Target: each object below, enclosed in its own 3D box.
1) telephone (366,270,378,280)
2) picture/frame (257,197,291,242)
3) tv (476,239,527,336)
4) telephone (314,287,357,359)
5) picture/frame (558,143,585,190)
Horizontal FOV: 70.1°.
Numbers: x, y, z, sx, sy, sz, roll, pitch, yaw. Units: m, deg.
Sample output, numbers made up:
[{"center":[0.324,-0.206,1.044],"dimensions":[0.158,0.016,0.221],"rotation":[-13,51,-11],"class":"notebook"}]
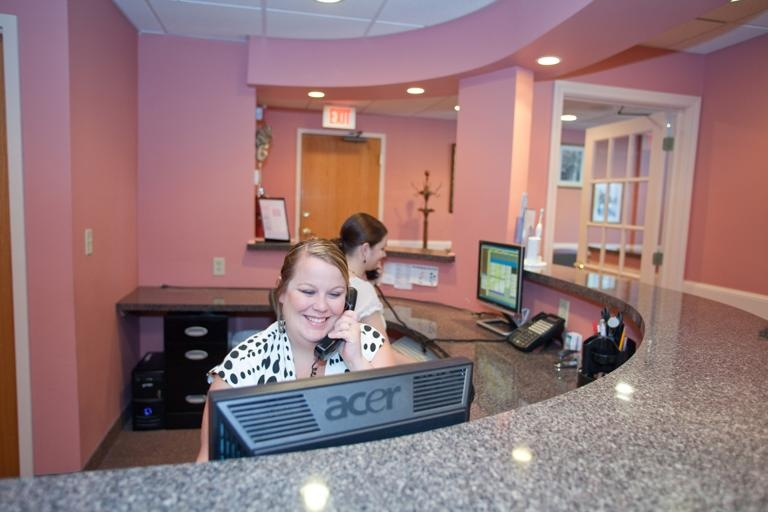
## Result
[{"center":[-0.072,0.117,3.286],"dimensions":[0.057,0.056,0.022],"rotation":[-1,17,8],"class":"telephone"},{"center":[-0.882,-0.292,4.414],"dimensions":[0.229,0.350,0.138],"rotation":[-2,13,-5],"class":"picture/frame"},{"center":[0.718,0.185,3.348],"dimensions":[0.242,0.570,0.488],"rotation":[-2,13,-5],"class":"tv"},{"center":[-0.184,0.251,1.993],"dimensions":[0.057,0.268,0.066],"rotation":[27,-10,21],"class":"telephone"},{"center":[2.804,-1.345,8.192],"dimensions":[0.370,0.634,0.094],"rotation":[-2,13,-8],"class":"picture/frame"}]
